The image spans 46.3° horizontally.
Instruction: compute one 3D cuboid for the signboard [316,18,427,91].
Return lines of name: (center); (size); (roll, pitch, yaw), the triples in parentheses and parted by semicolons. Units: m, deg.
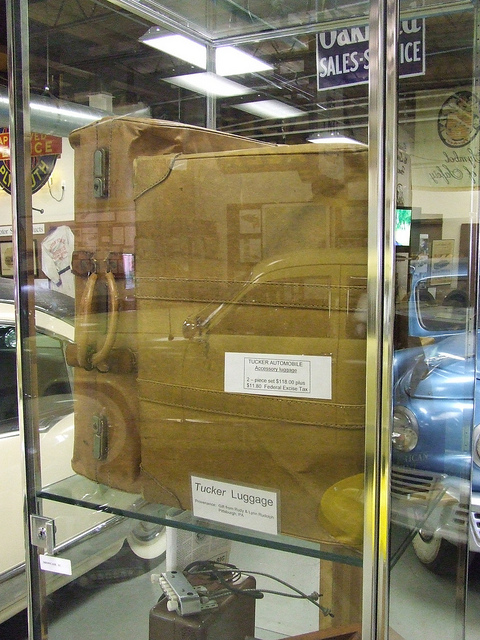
signboard: (0.144, -0.298, 0.619); (0.127, 0.067, 0.002); (3, 12, 28)
